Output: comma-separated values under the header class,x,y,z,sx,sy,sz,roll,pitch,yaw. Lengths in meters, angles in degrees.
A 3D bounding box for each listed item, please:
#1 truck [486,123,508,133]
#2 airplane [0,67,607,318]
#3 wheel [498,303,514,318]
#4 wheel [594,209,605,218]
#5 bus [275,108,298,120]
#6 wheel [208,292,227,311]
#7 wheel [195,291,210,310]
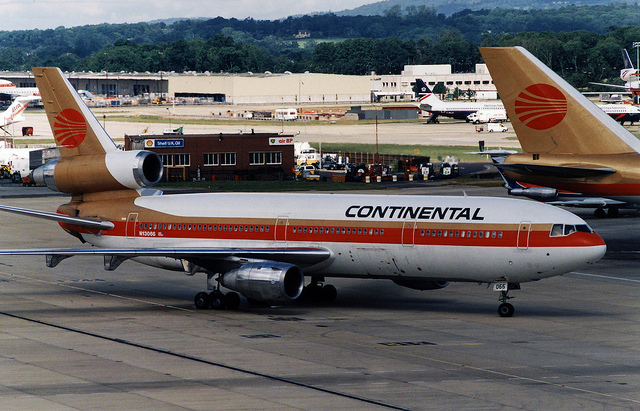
class,x,y,z,sx,sy,sz,roll,pitch,yaw
truck,28.371,-12.279,206.802,3.030,0.861,1.447,-1,6,-1
airplane,-0.437,1.270,89.093,32.023,8.124,24.122,2,5,26
wheel,12.222,6.825,85.493,1.230,0.837,0.518,10,10,32
wheel,25.037,0.724,116.524,1.299,0.806,0.379,1,1,9
bus,-6.583,-17.879,257.425,3.742,1.769,4.359,0,8,-15
wheel,-6.907,6.385,87.383,1.768,1.115,0.508,6,7,11
wheel,-7.937,6.368,87.614,1.554,1.003,0.513,4,5,22
